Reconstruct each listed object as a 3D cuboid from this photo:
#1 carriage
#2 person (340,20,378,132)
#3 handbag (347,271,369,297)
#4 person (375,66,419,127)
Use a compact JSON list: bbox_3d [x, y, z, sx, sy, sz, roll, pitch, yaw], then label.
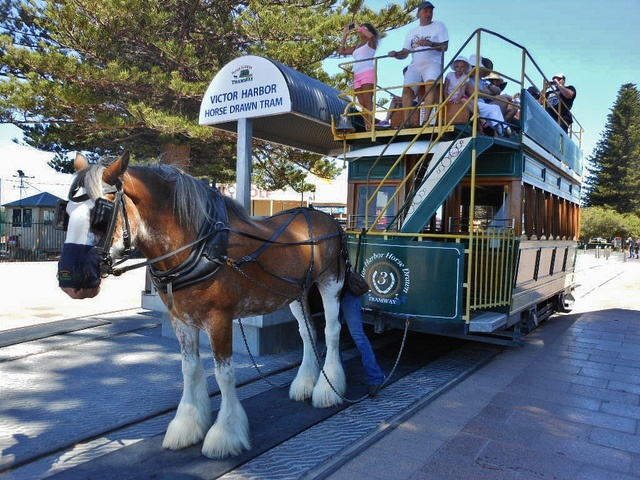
[{"bbox_3d":[0.352,-0.110,9.533,4.737,5.487,9.218,3,4,35],"label":"carriage"},{"bbox_3d":[0.780,-3.451,11.663,0.902,2.542,0.876,-1,-4,22],"label":"person"},{"bbox_3d":[0.533,0.674,8.135,0.288,0.389,0.136,-33,-3,-33],"label":"handbag"},{"bbox_3d":[1.605,-2.939,11.237,0.870,1.315,0.525,4,-1,15],"label":"person"}]
